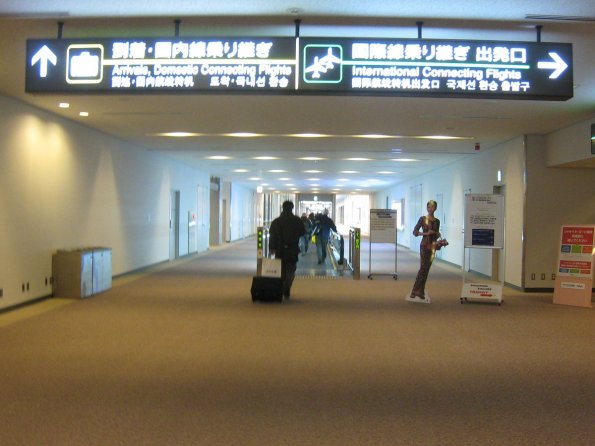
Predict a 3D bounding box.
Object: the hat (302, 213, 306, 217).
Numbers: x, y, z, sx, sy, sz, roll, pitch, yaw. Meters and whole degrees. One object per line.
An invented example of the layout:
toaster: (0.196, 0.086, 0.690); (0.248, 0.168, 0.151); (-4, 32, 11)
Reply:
hat: (0.324, -0.412, 20.916); (0.119, 0.168, 0.163); (-7, 10, -2)

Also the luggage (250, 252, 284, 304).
luggage: (-0.588, 1.232, 8.993); (0.737, 0.959, 0.607); (-3, -21, 18)

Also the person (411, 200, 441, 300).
person: (2.778, 0.555, 9.347); (0.565, 2.088, 0.804); (1, 3, 18)

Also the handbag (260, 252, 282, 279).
handbag: (-0.539, 0.859, 8.943); (0.372, 0.381, 0.376); (2, 7, 2)

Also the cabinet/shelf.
cabinet/shelf: (-4.799, 1.068, 9.639); (0.708, 1.033, 1.344); (3, 0, 4)
